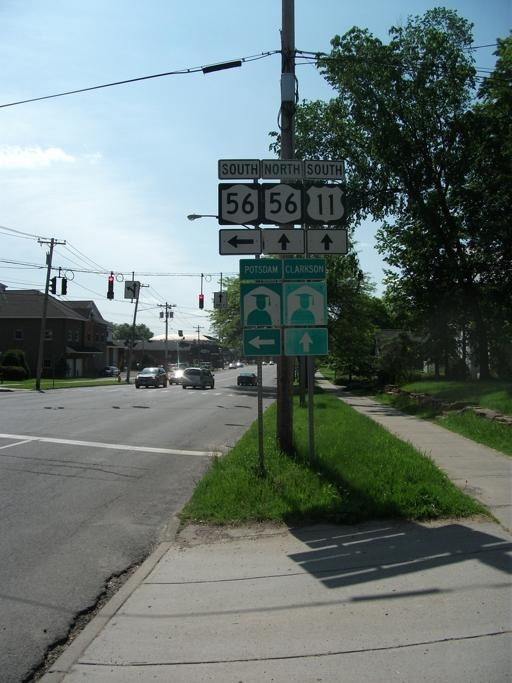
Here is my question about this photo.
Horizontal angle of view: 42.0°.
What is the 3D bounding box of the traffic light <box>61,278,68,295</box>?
[{"bbox_3d":[-9.421,-2.712,32.891,0.165,0.829,0.933,1,-3,-21],"label":"traffic light"}]
